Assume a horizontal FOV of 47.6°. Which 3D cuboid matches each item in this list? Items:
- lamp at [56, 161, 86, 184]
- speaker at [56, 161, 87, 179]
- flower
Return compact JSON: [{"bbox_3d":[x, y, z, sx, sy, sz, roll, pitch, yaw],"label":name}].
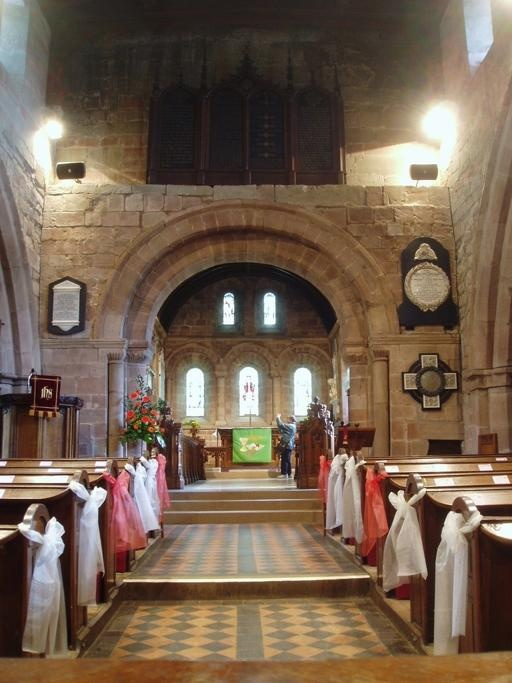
[{"bbox_3d":[-3.305,-3.044,10.476,0.643,0.444,0.350,0,3,0],"label":"lamp"},{"bbox_3d":[-3.293,-3.047,10.332,0.546,0.376,0.298,1,10,0],"label":"speaker"},{"bbox_3d":[-1.838,1.217,9.626,0.980,1.307,0.982,-1,-2,-9],"label":"flower"}]
